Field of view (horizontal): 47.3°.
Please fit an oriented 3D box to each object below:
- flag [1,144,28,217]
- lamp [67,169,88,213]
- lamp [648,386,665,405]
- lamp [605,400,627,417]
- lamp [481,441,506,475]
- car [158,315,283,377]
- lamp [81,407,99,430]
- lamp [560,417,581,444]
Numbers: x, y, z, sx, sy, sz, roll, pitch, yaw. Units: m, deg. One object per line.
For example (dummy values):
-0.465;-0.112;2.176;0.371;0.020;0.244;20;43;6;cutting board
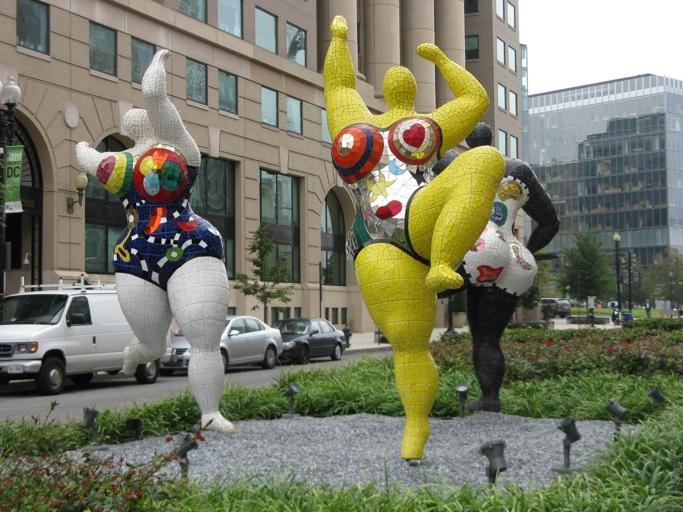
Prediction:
-6.573;-1.586;15.673;0.339;1.571;1.824;-2;-2;-22;flag
-7.694;-1.775;22.586;0.565;1.059;1.060;-2;-2;-20;lamp
3.446;1.521;8.526;0.153;0.168;0.346;-4;-2;22;lamp
2.771;1.533;7.882;0.168;0.132;0.322;-4;-2;19;lamp
1.254;1.647;6.435;0.205;0.267;0.228;-3;-2;10;lamp
-2.750;2.170;19.084;3.213;1.379;2.202;-2;-2;-20;car
-2.606;1.686;8.098;0.120;0.239;0.437;-2;-2;-20;lamp
2.086;1.584;7.113;0.164;0.249;0.253;-3;-2;15;lamp
